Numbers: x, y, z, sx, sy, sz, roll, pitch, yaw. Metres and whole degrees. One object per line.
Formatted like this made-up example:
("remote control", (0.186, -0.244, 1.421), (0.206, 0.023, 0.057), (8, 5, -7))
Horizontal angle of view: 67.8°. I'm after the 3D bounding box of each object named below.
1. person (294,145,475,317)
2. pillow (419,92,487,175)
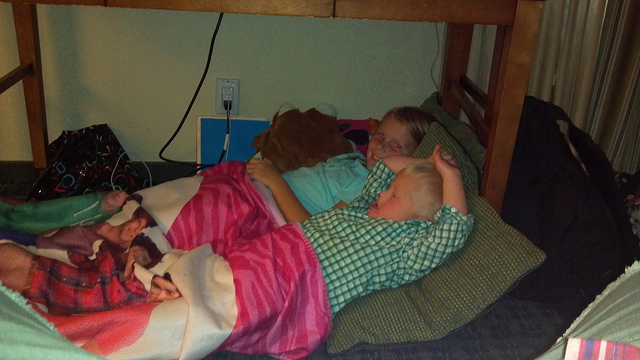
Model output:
("person", (0.345, 0.247, 1.856), (0.743, 0.270, 0.448), (-23, 46, 8))
("pillow", (0.546, -0.187, 1.962), (0.068, 0.196, 0.491), (37, 14, -30))
